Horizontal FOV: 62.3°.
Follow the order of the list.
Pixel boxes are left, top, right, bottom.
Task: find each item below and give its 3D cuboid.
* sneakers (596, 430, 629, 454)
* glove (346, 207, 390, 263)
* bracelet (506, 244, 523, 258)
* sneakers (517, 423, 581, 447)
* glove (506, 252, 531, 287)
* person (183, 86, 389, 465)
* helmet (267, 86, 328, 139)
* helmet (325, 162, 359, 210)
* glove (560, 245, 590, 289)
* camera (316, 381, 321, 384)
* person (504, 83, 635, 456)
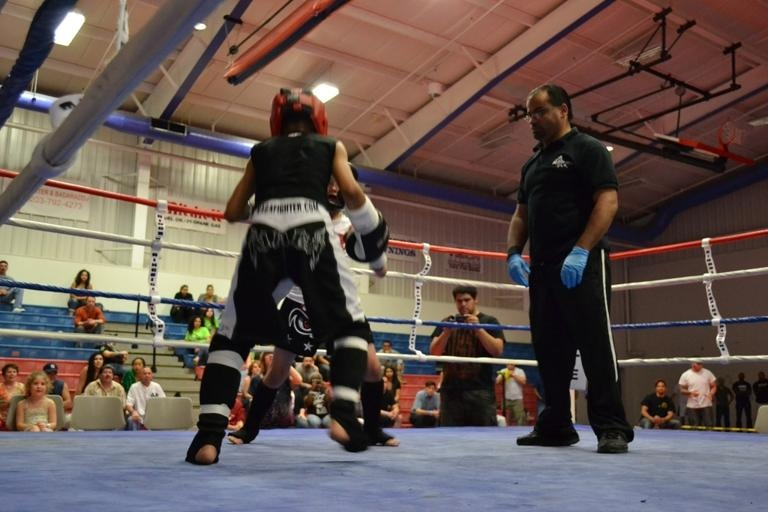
[{"bbox_3d":[1.252,1.026,3.513,0.162,0.110,0.124,-2,-14,11],"label":"sneakers"},{"bbox_3d":[-0.069,-0.092,3.388,0.218,0.241,0.271,14,-19,1],"label":"glove"},{"bbox_3d":[0.856,-0.035,4.231,0.088,0.065,0.084,6,-11,-9],"label":"bracelet"},{"bbox_3d":[0.993,1.099,3.922,0.376,0.167,0.133,1,-17,2],"label":"sneakers"},{"bbox_3d":[0.879,0.052,4.316,0.108,0.221,0.306,-11,20,18],"label":"glove"},{"bbox_3d":[-0.456,0.038,3.201,0.926,1.932,0.309,1,-15,0],"label":"person"},{"bbox_3d":[-0.439,-0.793,3.388,0.252,0.269,0.286,1,-32,0],"label":"helmet"},{"bbox_3d":[-0.267,-0.351,3.383,0.203,0.250,0.261,0,3,11],"label":"helmet"},{"bbox_3d":[1.108,0.064,3.670,0.148,0.227,0.065,17,-4,44],"label":"glove"},{"bbox_3d":[-0.874,1.682,8.506,0.055,0.021,0.071,0,-8,-4],"label":"camera"},{"bbox_3d":[1.107,0.055,3.851,0.571,2.151,0.637,-2,-15,13],"label":"person"}]
